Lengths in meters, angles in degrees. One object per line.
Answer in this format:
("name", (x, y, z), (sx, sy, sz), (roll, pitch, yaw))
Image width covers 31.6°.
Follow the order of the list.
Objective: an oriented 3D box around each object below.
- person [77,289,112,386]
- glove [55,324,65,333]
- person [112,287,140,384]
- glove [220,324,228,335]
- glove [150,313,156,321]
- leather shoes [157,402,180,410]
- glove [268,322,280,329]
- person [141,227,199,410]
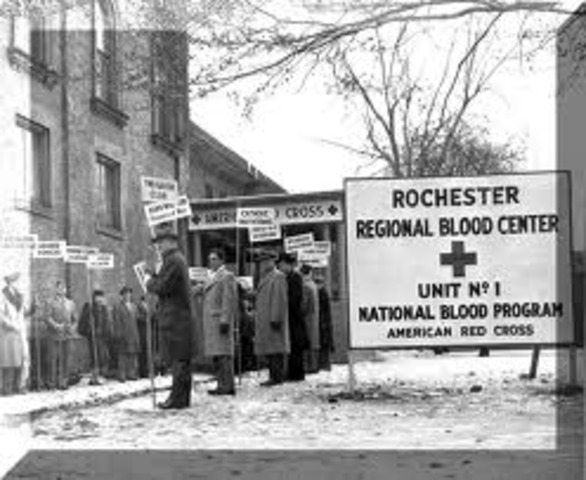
("person", (-4.216, 2.032, 21.811), (0.600, 1.937, 1.213), (-1, -1, -3))
("glove", (-4.690, 1.764, 20.772), (0.101, 0.128, 0.138), (6, -20, -24))
("person", (-3.677, 2.068, 22.837), (0.556, 2.012, 1.445), (-1, -1, -5))
("glove", (-1.152, 1.483, 17.183), (0.130, 0.161, 0.153), (5, 8, 14))
("glove", (-3.149, 1.738, 23.281), (0.139, 0.151, 0.035), (0, -12, 40))
("leather shoes", (-1.935, 2.587, 16.053), (0.338, 0.168, 0.134), (6, -12, 9))
("glove", (-0.347, 1.616, 19.405), (0.123, 0.047, 0.138), (7, -37, -5))
("person", (-1.925, 1.231, 16.437), (0.818, 2.839, 0.820), (1, -5, -19))
